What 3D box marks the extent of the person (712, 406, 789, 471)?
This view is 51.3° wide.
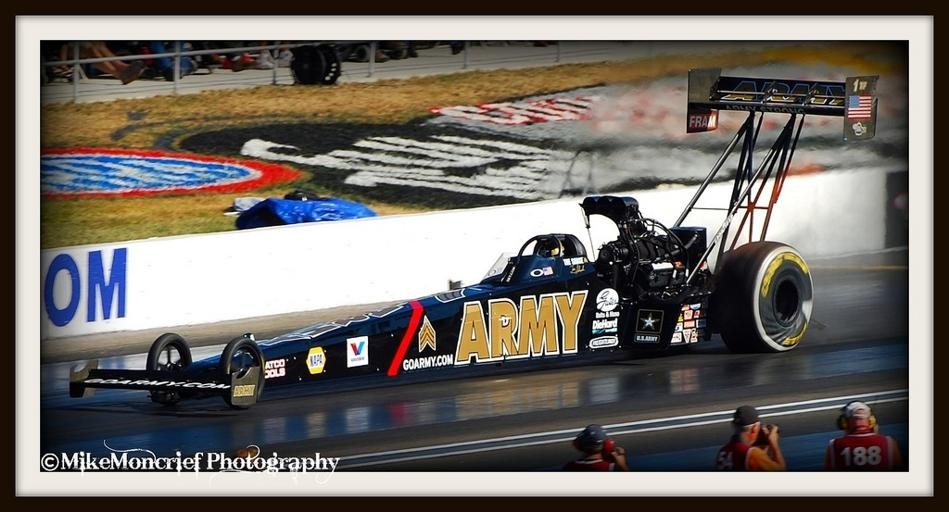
[{"bbox_3d":[2.373,1.561,8.471,0.560,0.699,0.462,4,12,14],"label":"person"}]

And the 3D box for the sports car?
[{"bbox_3d":[0.293,0.054,8.690,7.147,2.018,2.568,-11,43,-33],"label":"sports car"}]

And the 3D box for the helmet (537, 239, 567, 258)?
[{"bbox_3d":[0.718,-0.080,9.200,0.182,0.090,0.230,-11,-20,31],"label":"helmet"}]

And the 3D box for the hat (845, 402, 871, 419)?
[{"bbox_3d":[3.359,1.342,8.720,0.176,0.107,0.213,7,11,33],"label":"hat"}]

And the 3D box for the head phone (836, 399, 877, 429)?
[{"bbox_3d":[3.402,1.384,8.799,0.388,0.266,0.258,1,-7,2],"label":"head phone"}]
